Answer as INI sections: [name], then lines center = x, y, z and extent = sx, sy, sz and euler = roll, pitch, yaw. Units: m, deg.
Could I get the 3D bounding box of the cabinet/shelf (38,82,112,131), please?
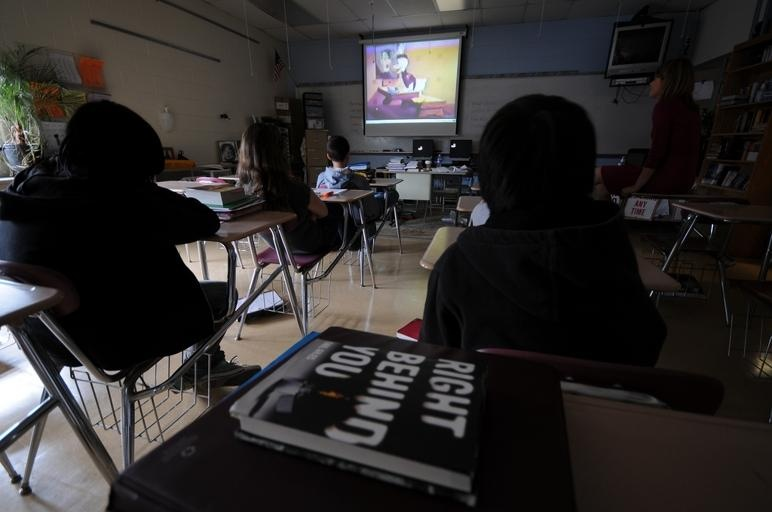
[cabinet/shelf]
center = -3.141, -1.554, 4.952
extent = 0.718, 0.395, 0.363
euler = -4, -4, -22

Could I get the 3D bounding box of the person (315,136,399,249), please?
[person]
center = -0.355, -0.570, 5.066
extent = 0.850, 1.315, 0.857
euler = 12, 25, 30
